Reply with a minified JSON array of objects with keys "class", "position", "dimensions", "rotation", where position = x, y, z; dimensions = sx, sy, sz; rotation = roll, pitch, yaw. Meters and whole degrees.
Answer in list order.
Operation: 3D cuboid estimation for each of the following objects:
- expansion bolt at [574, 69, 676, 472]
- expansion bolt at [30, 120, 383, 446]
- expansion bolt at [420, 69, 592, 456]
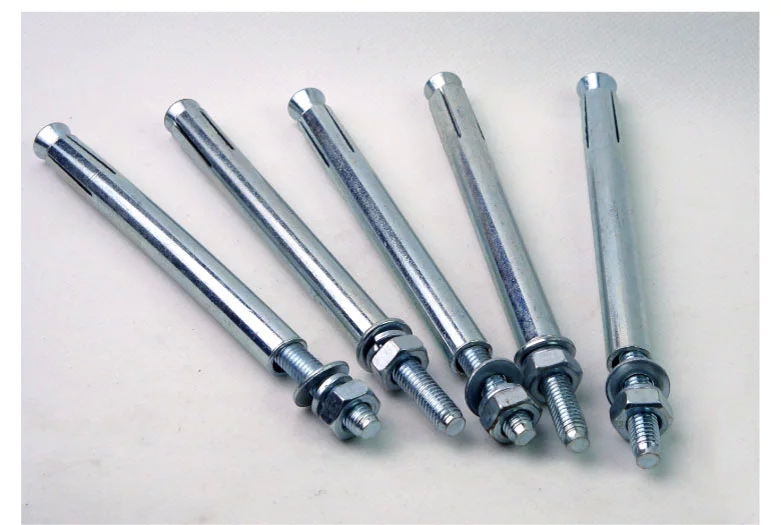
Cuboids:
[{"class":"expansion bolt","position":[0.743,-0.036,2.492],"dimensions":[0.195,1.235,0.204],"rotation":[1,-45,-3]},{"class":"expansion bolt","position":[-0.624,0.101,2.512],"dimensions":[0.245,1.527,0.249],"rotation":[-34,-23,-57]},{"class":"expansion bolt","position":[0.300,-0.080,2.542],"dimensions":[0.279,1.455,0.253],"rotation":[-2,-40,-24]}]
